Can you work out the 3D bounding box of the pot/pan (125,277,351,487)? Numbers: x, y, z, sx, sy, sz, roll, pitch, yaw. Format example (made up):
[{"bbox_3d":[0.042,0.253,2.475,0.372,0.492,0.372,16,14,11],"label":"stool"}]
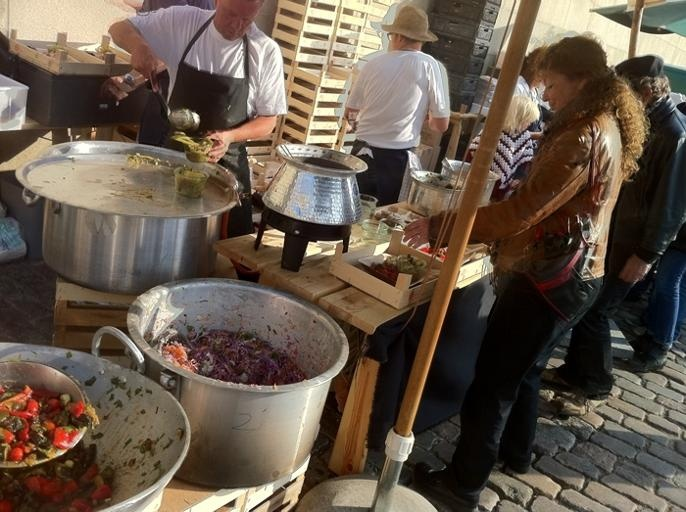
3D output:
[{"bbox_3d":[-0.498,0.670,2.563,1.001,0.618,0.955,4,18,-20],"label":"pot/pan"}]

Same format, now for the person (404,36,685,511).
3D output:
[{"bbox_3d":[1.107,0.224,2.908,0.853,2.916,0.544,-9,27,-40],"label":"person"}]

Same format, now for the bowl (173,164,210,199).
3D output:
[{"bbox_3d":[-0.896,-0.438,2.849,0.207,0.140,0.214,13,16,-4],"label":"bowl"}]

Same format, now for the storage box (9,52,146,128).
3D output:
[{"bbox_3d":[-2.516,-1.437,4.292,0.607,0.315,0.871,30,29,17],"label":"storage box"}]

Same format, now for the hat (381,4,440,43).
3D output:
[{"bbox_3d":[0.670,-2.531,5.135,0.571,0.267,0.597,-25,61,-39],"label":"hat"}]

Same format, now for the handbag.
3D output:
[{"bbox_3d":[1.232,0.143,2.932,0.514,0.393,0.718,17,43,24],"label":"handbag"}]

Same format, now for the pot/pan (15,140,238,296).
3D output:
[{"bbox_3d":[-1.275,-0.222,2.863,1.059,0.503,1.090,16,24,1],"label":"pot/pan"}]

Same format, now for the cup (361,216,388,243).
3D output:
[{"bbox_3d":[0.218,-0.191,3.330,0.150,0.094,0.151,10,21,-4],"label":"cup"}]

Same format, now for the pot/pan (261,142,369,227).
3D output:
[{"bbox_3d":[-0.147,-0.412,2.793,0.548,0.319,0.552,15,19,6],"label":"pot/pan"}]

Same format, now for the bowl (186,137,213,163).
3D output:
[{"bbox_3d":[-0.908,-0.671,3.078,0.158,0.111,0.157,3,31,-2],"label":"bowl"}]

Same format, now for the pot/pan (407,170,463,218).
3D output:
[{"bbox_3d":[0.766,-0.529,4.096,0.445,0.284,0.446,25,26,25],"label":"pot/pan"}]
